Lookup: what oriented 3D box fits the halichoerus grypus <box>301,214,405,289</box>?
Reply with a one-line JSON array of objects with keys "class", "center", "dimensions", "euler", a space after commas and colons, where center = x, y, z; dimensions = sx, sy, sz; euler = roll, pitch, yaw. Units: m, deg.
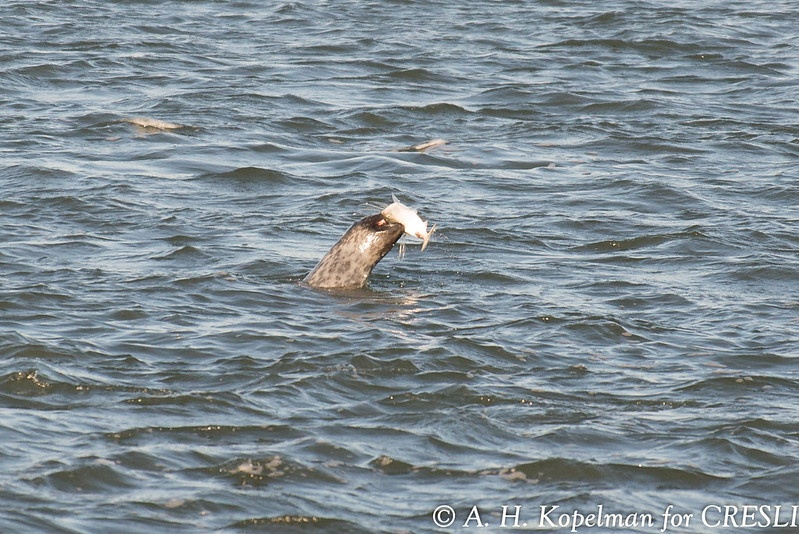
[{"class": "halichoerus grypus", "center": [-0.381, -0.133, 11.013], "dimensions": [0.399, 1.436, 0.400], "euler": [55, 31, -10]}]
